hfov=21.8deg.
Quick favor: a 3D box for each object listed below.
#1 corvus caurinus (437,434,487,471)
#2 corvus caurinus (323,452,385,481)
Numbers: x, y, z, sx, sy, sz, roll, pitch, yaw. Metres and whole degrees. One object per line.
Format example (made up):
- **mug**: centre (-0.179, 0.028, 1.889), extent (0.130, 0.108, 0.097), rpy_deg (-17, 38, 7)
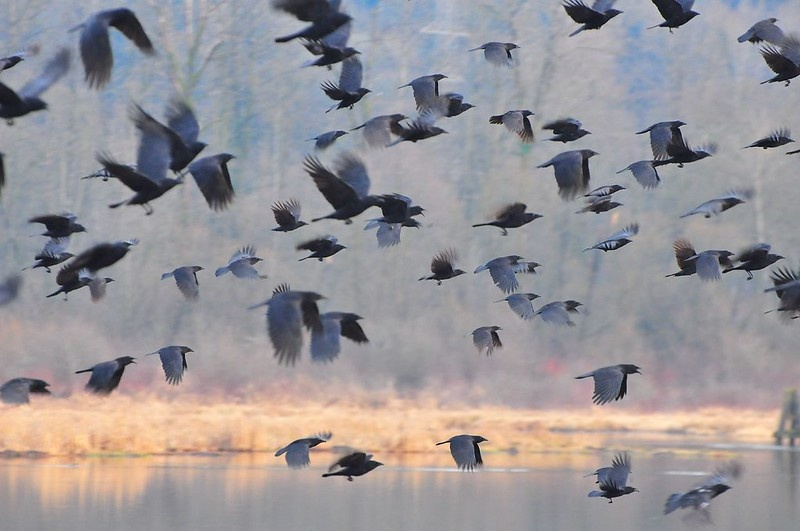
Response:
- **corvus caurinus**: centre (0.882, 2.571, 28.803), extent (0.501, 0.515, 0.358), rpy_deg (-2, 7, 2)
- **corvus caurinus**: centre (-0.675, 2.757, 28.924), extent (0.542, 0.232, 0.523), rpy_deg (3, -4, 12)
